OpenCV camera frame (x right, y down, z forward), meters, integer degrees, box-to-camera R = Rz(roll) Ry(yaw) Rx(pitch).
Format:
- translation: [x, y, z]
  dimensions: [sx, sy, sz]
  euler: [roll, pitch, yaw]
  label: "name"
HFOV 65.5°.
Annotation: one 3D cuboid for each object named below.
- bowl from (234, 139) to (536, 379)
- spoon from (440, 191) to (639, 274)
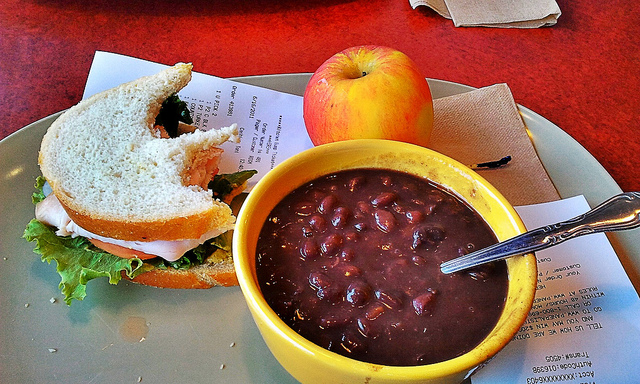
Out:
- translation: [0.199, 0.189, 1.619]
  dimensions: [0.935, 0.240, 0.812]
  euler: [-10, 78, -2]
  label: "bowl"
- translation: [0.744, 0.151, 1.692]
  dimensions: [0.936, 0.040, 0.123]
  euler: [-14, 59, 7]
  label: "spoon"
